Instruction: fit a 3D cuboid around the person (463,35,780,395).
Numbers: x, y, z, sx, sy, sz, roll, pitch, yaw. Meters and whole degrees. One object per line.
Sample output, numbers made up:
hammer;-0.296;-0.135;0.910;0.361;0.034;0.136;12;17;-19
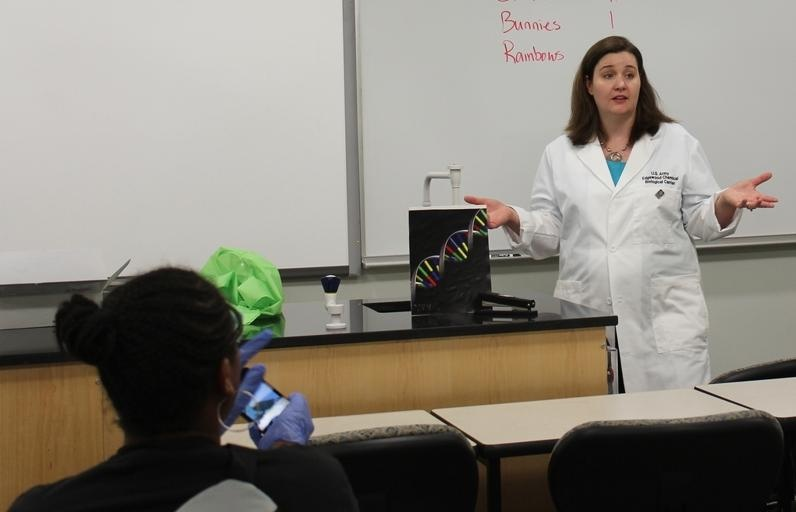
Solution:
person;1.128;0.005;3.479;1.247;2.141;0.716;2;29;26

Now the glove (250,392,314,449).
glove;-0.356;0.516;2.184;0.175;0.082;0.147;-9;4;-7
